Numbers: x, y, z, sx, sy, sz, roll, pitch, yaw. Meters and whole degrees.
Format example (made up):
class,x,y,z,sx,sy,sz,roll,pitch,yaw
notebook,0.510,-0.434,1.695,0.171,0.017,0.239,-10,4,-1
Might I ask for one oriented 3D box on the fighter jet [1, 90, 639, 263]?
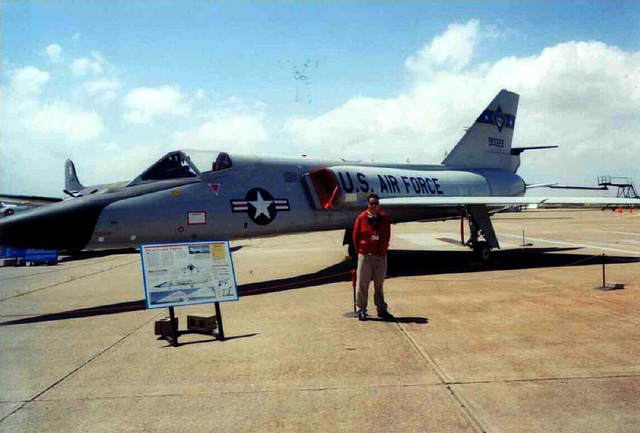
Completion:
class,x,y,z,sx,sy,sz,roll,pitch,yaw
fighter jet,1.376,-1.748,12.911,17.694,4.400,5.384,-6,9,-25

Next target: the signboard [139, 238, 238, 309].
class,x,y,z,sx,sy,sz,roll,pitch,yaw
signboard,-2.331,0.991,8.265,1.896,1.160,0.024,-7,-4,18

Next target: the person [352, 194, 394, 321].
class,x,y,z,sx,sy,sz,roll,pitch,yaw
person,0.999,0.777,8.822,0.721,2.370,0.624,-2,10,5
